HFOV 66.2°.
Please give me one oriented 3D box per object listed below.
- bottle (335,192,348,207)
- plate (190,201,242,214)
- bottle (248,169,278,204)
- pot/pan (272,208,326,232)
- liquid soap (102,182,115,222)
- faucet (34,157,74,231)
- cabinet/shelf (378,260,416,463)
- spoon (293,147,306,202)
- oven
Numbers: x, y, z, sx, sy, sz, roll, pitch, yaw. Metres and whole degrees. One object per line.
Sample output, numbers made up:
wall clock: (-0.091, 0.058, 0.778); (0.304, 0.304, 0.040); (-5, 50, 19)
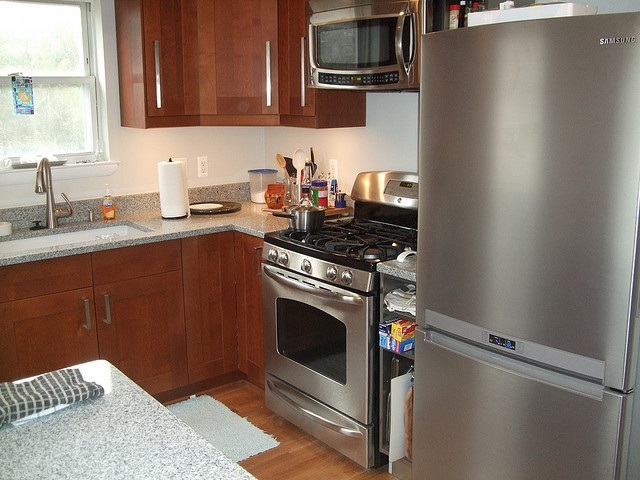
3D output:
bottle: (0.145, -0.260, 3.200); (0.070, 0.091, 0.087); (3, 12, 10)
plate: (-0.746, -0.246, 3.523); (0.351, 0.053, 0.413); (-5, 16, -11)
bottle: (-0.418, -0.409, 3.720); (0.227, 0.248, 0.240); (-1, 13, -6)
pot/pan: (-0.086, -0.127, 2.722); (0.229, 0.105, 0.143); (-2, 11, -8)
liquid soap: (-1.419, -0.255, 3.302); (0.085, 0.210, 0.176); (-7, 16, -18)
faucet: (-1.669, -0.304, 3.074); (0.192, 0.427, 0.256); (9, 18, 35)
cabinet/shelf: (0.359, 0.601, 2.327); (0.172, 1.027, 0.295); (1, 15, 9)
spoon: (-0.129, -0.462, 3.440); (0.075, 0.399, 0.055); (-15, -29, 38)
oven: (0.121, 0.550, 2.820); (0.667, 1.028, 0.819); (-15, 20, -43)
